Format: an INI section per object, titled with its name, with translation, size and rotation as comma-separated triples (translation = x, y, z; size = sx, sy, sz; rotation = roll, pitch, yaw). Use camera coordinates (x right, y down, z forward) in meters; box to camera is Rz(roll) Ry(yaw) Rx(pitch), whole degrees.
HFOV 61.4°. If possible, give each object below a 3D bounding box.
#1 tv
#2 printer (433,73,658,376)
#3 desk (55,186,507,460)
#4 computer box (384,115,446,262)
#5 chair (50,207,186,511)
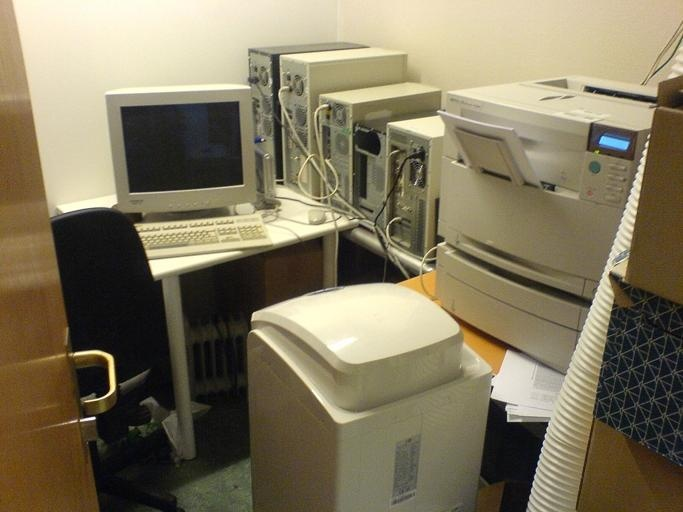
[tv]
translation = -0.657, -0.501, 2.356
size = 0.553, 0.536, 0.312
rotation = -9, 42, -19
[printer]
translation = 0.648, -0.134, 1.711
size = 0.698, 0.688, 0.499
rotation = -24, 35, -36
[desk]
translation = -0.423, -0.028, 2.582
size = 1.240, 0.815, 1.273
rotation = -16, 37, -29
[computer box]
translation = 0.340, -0.268, 2.270
size = 0.257, 0.471, 0.315
rotation = 20, 30, 41
[chair]
translation = -0.723, 0.397, 1.954
size = 0.327, 1.185, 0.463
rotation = -17, 25, -36
